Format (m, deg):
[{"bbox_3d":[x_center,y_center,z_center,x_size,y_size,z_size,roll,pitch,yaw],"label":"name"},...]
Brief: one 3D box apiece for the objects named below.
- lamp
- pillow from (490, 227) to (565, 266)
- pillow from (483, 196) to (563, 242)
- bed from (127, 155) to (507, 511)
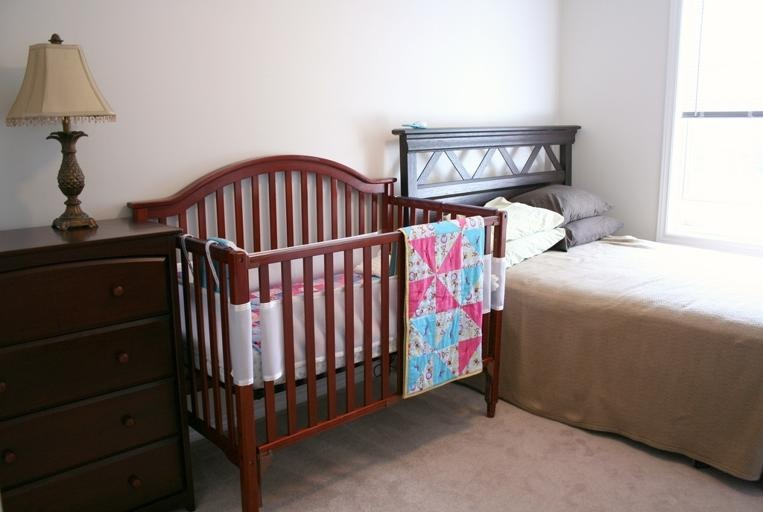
[{"bbox_3d":[-1.297,-0.514,2.388,0.397,0.753,0.373,11,22,38],"label":"lamp"},{"bbox_3d":[0.912,-0.087,3.497,0.379,0.088,0.209,-16,21,-40],"label":"pillow"},{"bbox_3d":[0.903,-0.226,3.564,0.342,0.094,0.339,-13,22,-30],"label":"pillow"},{"bbox_3d":[-0.253,0.246,2.878,1.541,1.420,0.942,-14,20,-34],"label":"bed"}]
